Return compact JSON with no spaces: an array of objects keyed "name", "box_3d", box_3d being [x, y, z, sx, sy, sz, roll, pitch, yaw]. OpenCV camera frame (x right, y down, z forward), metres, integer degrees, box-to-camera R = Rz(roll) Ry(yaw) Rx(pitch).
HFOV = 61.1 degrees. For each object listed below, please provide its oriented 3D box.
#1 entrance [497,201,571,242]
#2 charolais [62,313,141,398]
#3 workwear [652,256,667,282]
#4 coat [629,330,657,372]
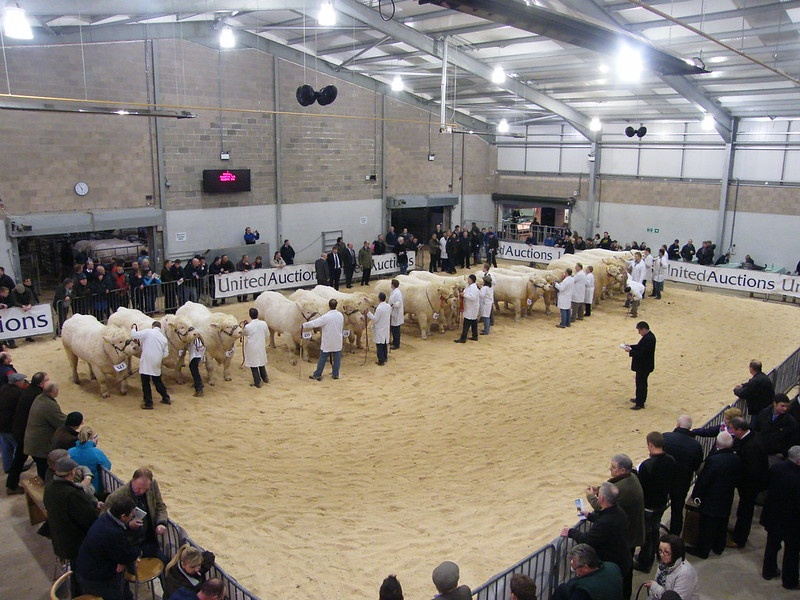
[{"name":"entrance","box_3d":[6.735,-4.093,34.908,3.822,2.511,0.417,-1,8,-19]},{"name":"charolais","box_3d":[-6.790,1.317,15.561,2.869,1.654,0.970,11,18,38]},{"name":"workwear","box_3d":[9.015,-1.072,23.541,0.479,0.933,0.758,-1,9,-5]},{"name":"coat","box_3d":[5.595,1.224,15.570,0.488,1.470,0.532,9,24,25]}]
